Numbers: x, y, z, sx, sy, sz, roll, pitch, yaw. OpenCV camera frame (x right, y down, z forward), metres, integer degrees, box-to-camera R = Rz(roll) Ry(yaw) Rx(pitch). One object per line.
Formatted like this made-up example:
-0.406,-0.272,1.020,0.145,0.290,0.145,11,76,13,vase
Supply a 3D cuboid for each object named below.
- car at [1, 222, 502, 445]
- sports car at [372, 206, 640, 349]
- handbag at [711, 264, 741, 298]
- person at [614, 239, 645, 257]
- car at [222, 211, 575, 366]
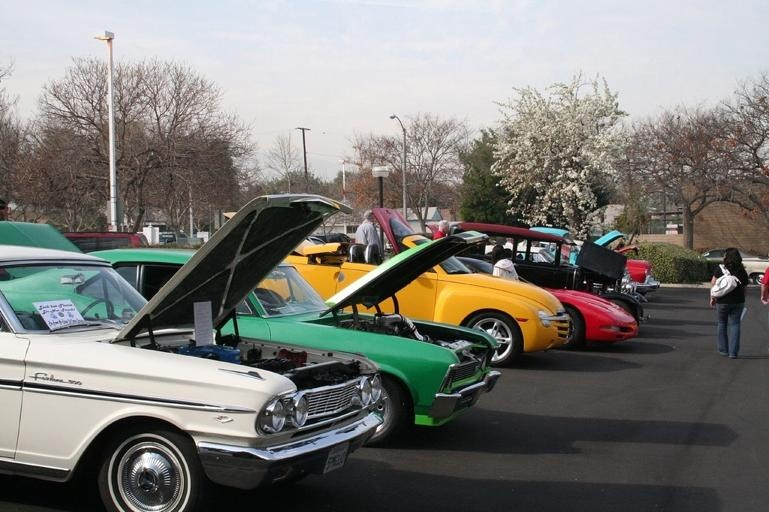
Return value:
-1.414,0.782,8.255,5.176,1.316,2.218,3,4,18,car
2.768,0.146,15.037,5.123,2.099,2.046,16,6,12,sports car
6.791,0.509,13.342,0.620,0.656,0.389,-13,6,-39,handbag
9.157,-0.284,25.111,1.389,0.325,0.912,8,0,0,person
-0.145,0.515,11.531,6.282,1.882,2.474,4,2,10,car
